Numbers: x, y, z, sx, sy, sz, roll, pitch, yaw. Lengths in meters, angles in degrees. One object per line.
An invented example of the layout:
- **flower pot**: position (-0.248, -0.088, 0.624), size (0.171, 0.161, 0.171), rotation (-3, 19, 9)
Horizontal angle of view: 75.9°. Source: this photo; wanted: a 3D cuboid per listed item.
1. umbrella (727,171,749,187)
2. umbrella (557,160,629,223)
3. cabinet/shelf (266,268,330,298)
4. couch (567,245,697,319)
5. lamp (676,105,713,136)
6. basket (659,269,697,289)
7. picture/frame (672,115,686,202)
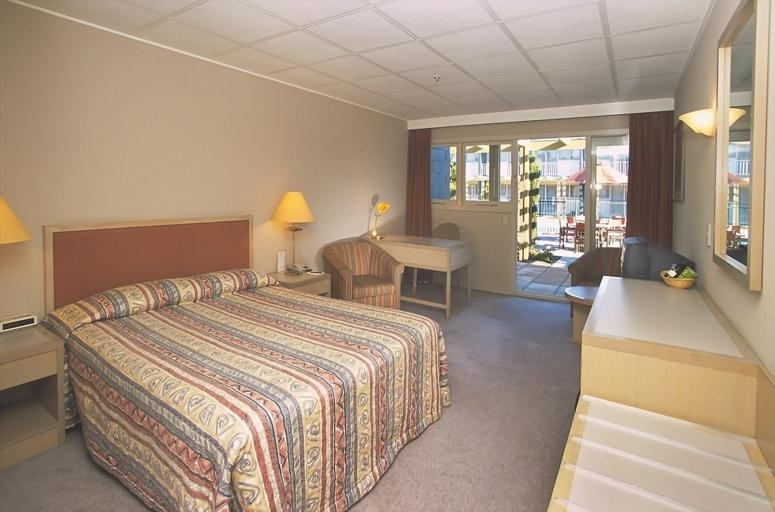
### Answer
- **umbrella**: position (2.342, -0.506, 3.332), size (0.142, 0.070, 0.144), rotation (-1, 12, 43)
- **umbrella**: position (2.915, -0.959, 7.124), size (0.731, 0.635, 0.731), rotation (-1, 11, 0)
- **cabinet/shelf**: position (-1.012, 0.189, 5.825), size (0.339, 0.487, 0.510), rotation (6, 8, 33)
- **couch**: position (2.289, 0.251, 5.050), size (1.004, 0.843, 1.066), rotation (4, 11, 9)
- **lamp**: position (2.521, -1.070, 4.032), size (0.190, 0.203, 0.333), rotation (3, 9, 22)
- **basket**: position (2.476, 0.216, 4.295), size (0.190, 0.069, 0.189), rotation (-3, 5, -10)
- **picture/frame**: position (3.257, -1.044, 5.568), size (0.028, 0.847, 0.835), rotation (-1, 6, 24)
